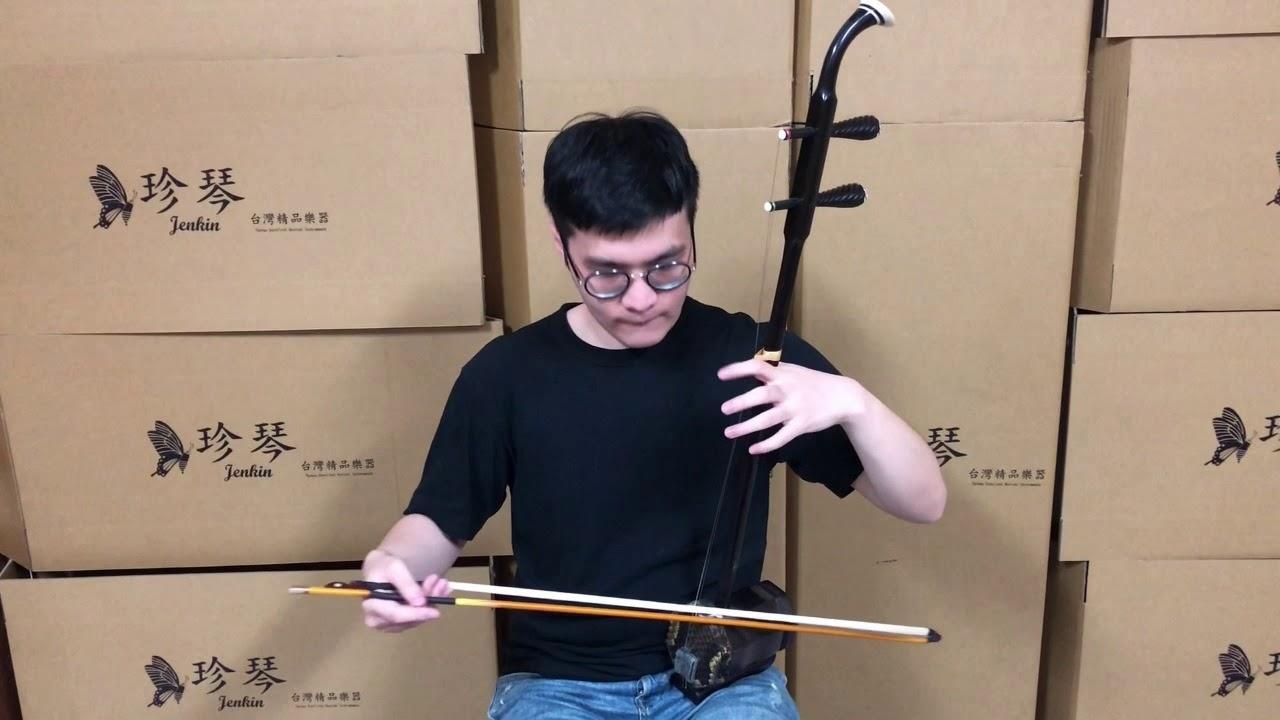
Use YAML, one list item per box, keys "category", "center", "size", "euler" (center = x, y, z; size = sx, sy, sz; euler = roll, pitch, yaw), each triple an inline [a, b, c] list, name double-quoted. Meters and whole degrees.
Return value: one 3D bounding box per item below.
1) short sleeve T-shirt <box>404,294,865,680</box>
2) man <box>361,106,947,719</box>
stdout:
- category: "short sleeve T-shirt"
  center: [-0.018, 0.275, 3.030]
  size: [0.994, 0.785, 0.374]
  euler: [3, 2, -1]
- category: "man"
  center: [0.032, 0.068, 3.082]
  size: [1.508, 1.776, 1.022]
  euler: [-1, 8, -6]
